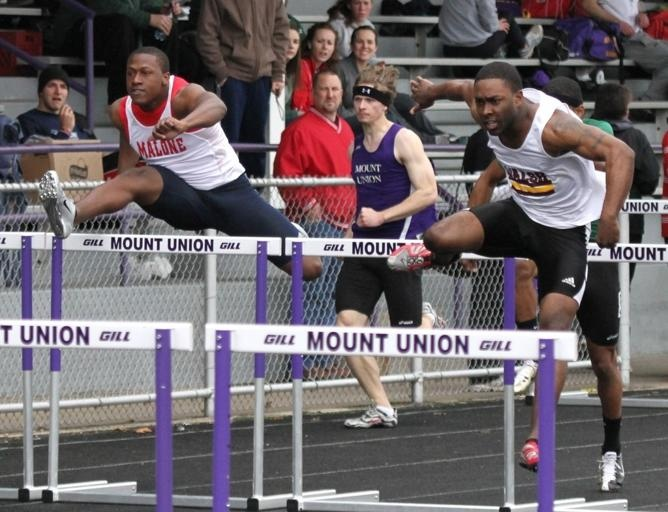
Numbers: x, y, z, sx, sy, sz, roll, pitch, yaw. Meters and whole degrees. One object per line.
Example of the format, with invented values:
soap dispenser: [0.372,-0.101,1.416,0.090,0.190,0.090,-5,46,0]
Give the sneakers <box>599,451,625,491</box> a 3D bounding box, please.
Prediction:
sneakers: [1.752,1.333,9.113,0.098,0.121,0.298,-4,40,16]

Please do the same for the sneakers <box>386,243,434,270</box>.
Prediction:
sneakers: [0.470,-0.001,9.000,0.253,0.147,0.102,-10,26,-15]

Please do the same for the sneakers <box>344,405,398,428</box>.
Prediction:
sneakers: [0.290,1.177,10.593,0.422,0.193,0.158,0,-2,8]

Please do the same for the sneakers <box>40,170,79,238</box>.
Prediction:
sneakers: [-1.749,-0.357,9.068,0.163,0.511,0.244,-34,-39,21]

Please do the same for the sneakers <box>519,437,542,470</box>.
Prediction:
sneakers: [1.208,1.207,8.703,0.112,0.165,0.327,11,1,-8]

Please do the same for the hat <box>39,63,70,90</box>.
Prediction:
hat: [-2.383,-1.492,12.190,0.220,0.190,0.234,4,-2,-11]
